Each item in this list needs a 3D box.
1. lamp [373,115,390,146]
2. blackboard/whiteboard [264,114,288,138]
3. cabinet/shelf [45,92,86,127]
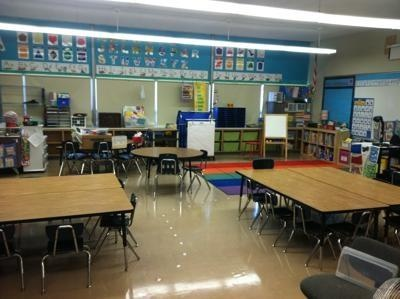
[{"bbox_3d":[4.709,-0.541,8.227,0.315,0.679,1.295,9,15,30],"label":"lamp"},{"bbox_3d":[2.627,-0.821,11.063,0.819,0.782,0.291,0,3,-16],"label":"blackboard/whiteboard"},{"bbox_3d":[-4.437,-1.294,10.193,1.123,1.132,0.395,1,12,-10],"label":"cabinet/shelf"}]
